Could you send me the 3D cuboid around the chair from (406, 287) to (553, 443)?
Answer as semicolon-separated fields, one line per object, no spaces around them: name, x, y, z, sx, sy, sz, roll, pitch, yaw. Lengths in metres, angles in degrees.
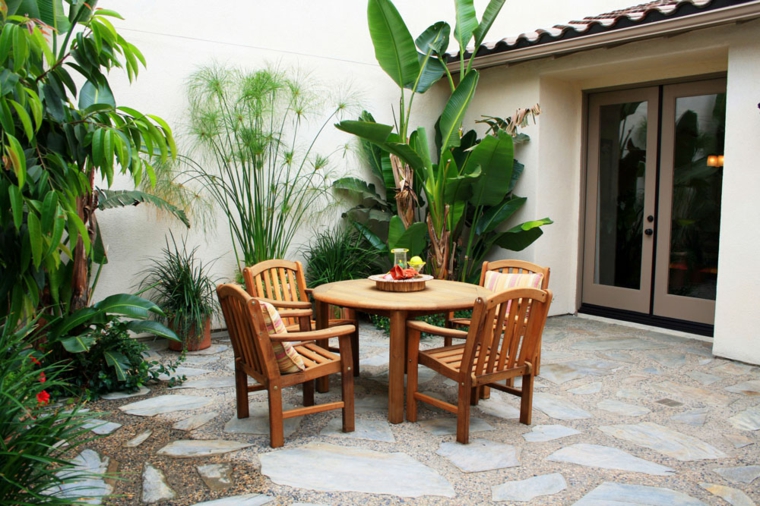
chair;0.751;0.805;3.788;1.101;1.156;0.566;1;13;2

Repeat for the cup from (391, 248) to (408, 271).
cup;0.194;0.060;4.496;0.121;0.178;0.188;2;11;5

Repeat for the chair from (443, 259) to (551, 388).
chair;1.070;0.663;4.845;0.825;1.026;0.874;-7;9;-28

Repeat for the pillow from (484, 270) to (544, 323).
pillow;1.210;0.353;4.736;0.705;0.339;0.203;-3;-28;45

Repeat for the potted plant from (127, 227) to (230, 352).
potted plant;-2.421;0.484;6.154;1.532;1.307;1.184;1;2;18

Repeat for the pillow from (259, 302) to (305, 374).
pillow;-0.733;0.650;3.695;0.151;0.430;0.463;-25;8;-2

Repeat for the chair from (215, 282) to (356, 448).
chair;-0.699;0.789;3.792;0.854;1.159;0.634;-5;14;-25
